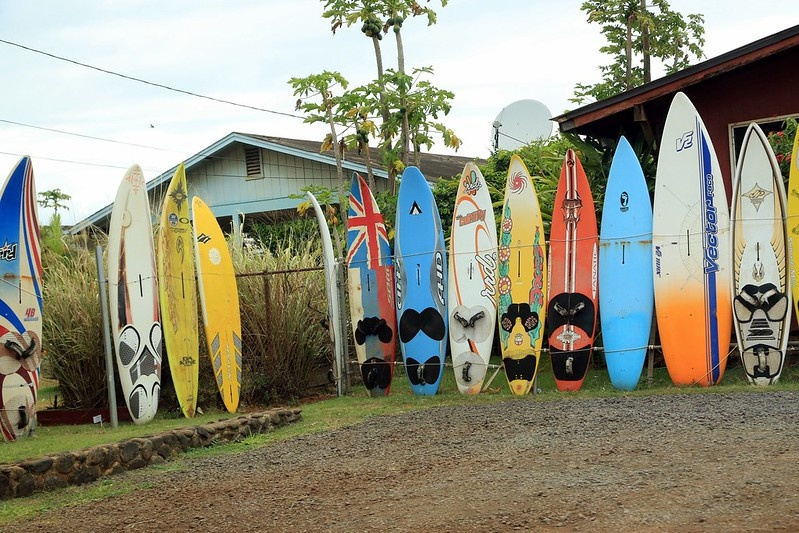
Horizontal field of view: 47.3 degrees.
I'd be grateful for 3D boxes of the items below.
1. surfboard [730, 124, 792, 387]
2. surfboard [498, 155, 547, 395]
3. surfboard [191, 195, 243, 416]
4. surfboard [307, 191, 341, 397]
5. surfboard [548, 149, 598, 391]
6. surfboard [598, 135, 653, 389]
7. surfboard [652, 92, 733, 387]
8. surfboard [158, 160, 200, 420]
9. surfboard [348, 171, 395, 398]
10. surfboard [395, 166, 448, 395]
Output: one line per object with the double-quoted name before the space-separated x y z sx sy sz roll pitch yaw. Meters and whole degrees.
"surfboard" 3.618 -0.129 9.140 0.627 2.570 0.472 0 -1 20
"surfboard" 1.288 0.109 9.624 0.518 2.432 0.283 -4 -9 22
"surfboard" -1.900 0.392 9.659 0.503 2.419 0.124 -2 -14 -41
"surfboard" -0.790 0.358 10.172 0.187 2.528 0.270 -7 -2 35
"surfboard" 1.804 0.047 9.471 0.493 2.289 0.286 -1 -11 20
"surfboard" 2.333 0.038 9.395 0.537 2.384 0.255 -1 -9 16
"surfboard" 2.938 -0.302 9.271 0.753 2.878 0.983 -3 10 -1
"surfboard" -2.297 0.245 9.506 0.448 2.680 0.228 8 -16 -44
"surfboard" -0.317 0.246 10.220 0.515 2.509 0.420 -8 -14 27
"surfboard" 0.241 0.125 9.938 0.574 2.378 1.044 -3 10 1
